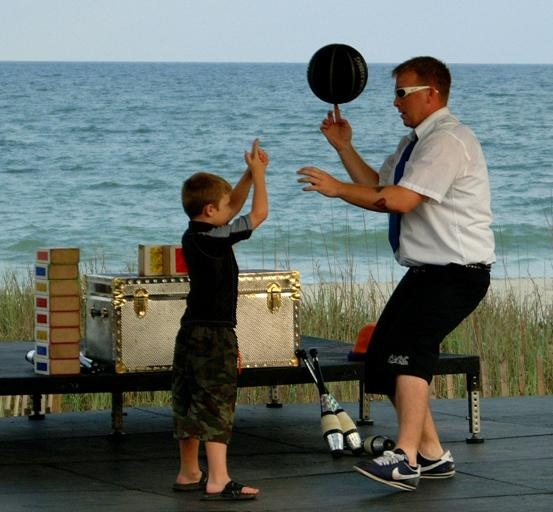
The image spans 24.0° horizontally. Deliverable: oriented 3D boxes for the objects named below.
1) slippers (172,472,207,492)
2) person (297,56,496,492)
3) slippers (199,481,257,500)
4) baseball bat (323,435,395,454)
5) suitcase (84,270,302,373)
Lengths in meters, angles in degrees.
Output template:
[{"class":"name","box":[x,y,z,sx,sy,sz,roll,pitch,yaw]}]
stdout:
[{"class":"slippers","box":[-0.435,1.156,6.630,0.179,0.066,0.072,-2,-4,-7]},{"class":"person","box":[0.664,0.069,6.811,0.835,2.247,0.754,1,-2,-36]},{"class":"slippers","box":[-0.228,1.154,6.487,0.245,0.086,0.102,-1,0,1]},{"class":"baseball bat","box":[0.482,1.048,7.226,0.203,0.059,0.195,1,-3,-36]},{"class":"suitcase","box":[-0.452,0.368,7.474,1.067,0.498,0.621,0,-3,-20]}]
